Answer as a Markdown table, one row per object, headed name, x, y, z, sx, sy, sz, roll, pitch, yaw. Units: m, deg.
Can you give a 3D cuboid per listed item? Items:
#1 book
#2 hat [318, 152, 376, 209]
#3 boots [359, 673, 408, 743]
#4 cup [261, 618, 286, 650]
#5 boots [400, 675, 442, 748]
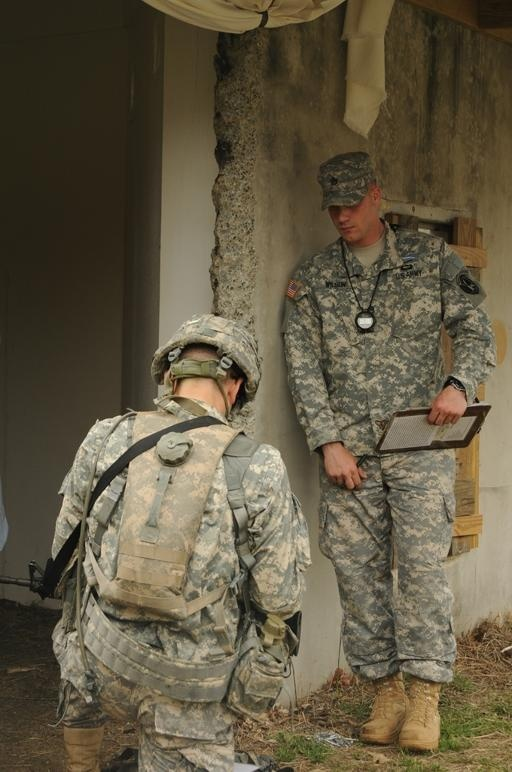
| name | x | y | z | sx | sy | sz | roll | pitch | yaw |
| --- | --- | --- | --- | --- | --- | --- | --- | --- | --- |
| book | 0.669 | 0.162 | 4.227 | 0.425 | 0.030 | 0.352 | -2 | -39 | -24 |
| hat | 0.387 | -0.878 | 4.539 | 0.185 | 0.141 | 0.264 | -7 | 27 | 29 |
| boots | 0.508 | 1.301 | 4.383 | 0.123 | 0.231 | 0.358 | -17 | -7 | 30 |
| cup | 0.046 | 0.656 | 2.887 | 0.073 | 0.067 | 0.076 | 24 | 3 | -1 |
| boots | 0.640 | 1.284 | 4.256 | 0.141 | 0.237 | 0.397 | -1 | -4 | 10 |
